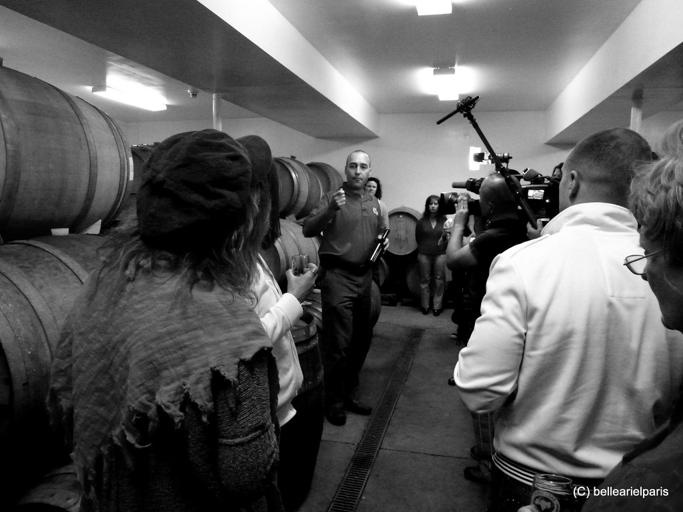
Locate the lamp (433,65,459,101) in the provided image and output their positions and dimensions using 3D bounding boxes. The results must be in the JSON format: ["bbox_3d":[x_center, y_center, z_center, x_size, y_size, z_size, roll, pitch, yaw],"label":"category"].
[{"bbox_3d":[1.432,-2.393,7.024,0.297,0.297,0.546,2,8,12],"label":"lamp"}]

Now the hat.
[{"bbox_3d":[-0.390,-0.124,1.493,0.285,0.366,0.145,14,-11,9],"label":"hat"}]

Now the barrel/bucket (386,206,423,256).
[{"bbox_3d":[1.094,-0.426,8.724,0.672,0.728,0.970,-3,5,16],"label":"barrel/bucket"}]

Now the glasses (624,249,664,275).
[{"bbox_3d":[0.755,0.017,1.286,0.065,0.021,0.062,-19,4,-3],"label":"glasses"}]

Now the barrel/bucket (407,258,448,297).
[{"bbox_3d":[1.404,0.364,8.459,0.565,0.546,0.543,-1,-12,0],"label":"barrel/bucket"}]

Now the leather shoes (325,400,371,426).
[{"bbox_3d":[0.063,1.161,3.976,0.135,0.164,0.404,8,9,40],"label":"leather shoes"}]
